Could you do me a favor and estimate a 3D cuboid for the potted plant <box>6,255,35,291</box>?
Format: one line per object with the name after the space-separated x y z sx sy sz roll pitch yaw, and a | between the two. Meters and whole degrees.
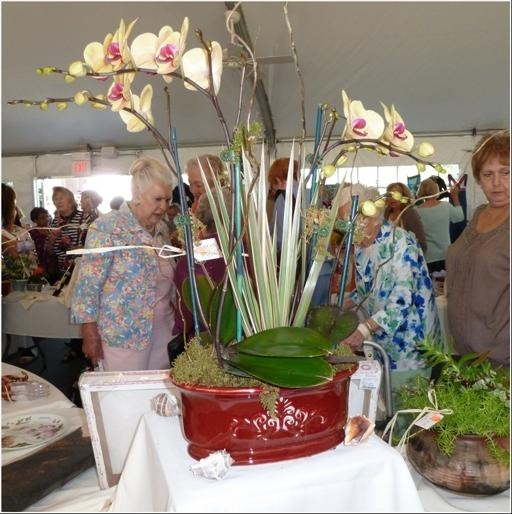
-1.794 0.131 3.247 0.216 0.260 0.274 -11 -13 38 | potted plant

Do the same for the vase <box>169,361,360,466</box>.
0.019 0.265 0.667 0.240 0.093 0.162 -2 4 -12 | vase

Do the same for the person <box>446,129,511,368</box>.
0.815 -0.028 1.525 0.194 0.819 0.455 -1 3 18 | person

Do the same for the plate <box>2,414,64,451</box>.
-0.566 0.436 1.067 0.144 0.018 0.192 -3 3 -26 | plate

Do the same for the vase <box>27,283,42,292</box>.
-1.669 0.227 3.140 0.073 0.049 0.071 0 -7 2 | vase

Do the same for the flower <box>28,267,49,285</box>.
-1.671 0.143 3.258 0.132 0.151 0.125 0 -18 1 | flower

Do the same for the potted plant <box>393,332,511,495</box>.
0.374 0.297 0.872 0.240 0.278 0.255 0 -1 -9 | potted plant
